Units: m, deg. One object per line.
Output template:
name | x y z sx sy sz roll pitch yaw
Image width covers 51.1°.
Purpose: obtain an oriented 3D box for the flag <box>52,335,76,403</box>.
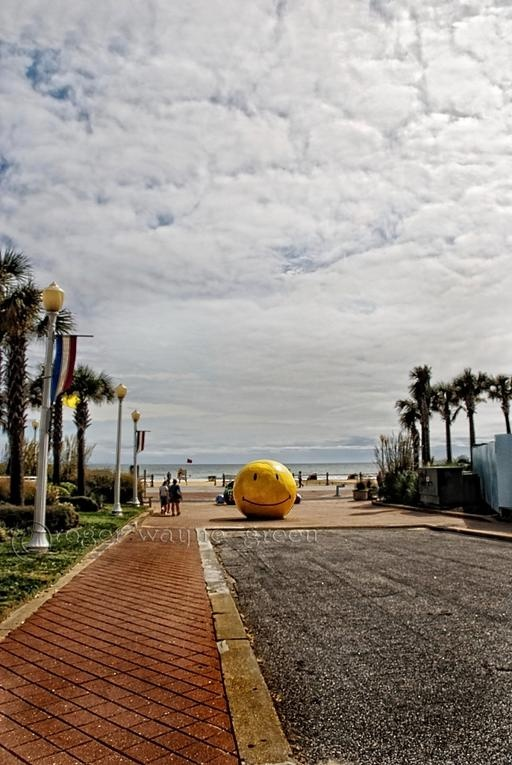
flag | -3.872 -0.237 10.914 0.495 0.099 1.743 -6 -41 -31
